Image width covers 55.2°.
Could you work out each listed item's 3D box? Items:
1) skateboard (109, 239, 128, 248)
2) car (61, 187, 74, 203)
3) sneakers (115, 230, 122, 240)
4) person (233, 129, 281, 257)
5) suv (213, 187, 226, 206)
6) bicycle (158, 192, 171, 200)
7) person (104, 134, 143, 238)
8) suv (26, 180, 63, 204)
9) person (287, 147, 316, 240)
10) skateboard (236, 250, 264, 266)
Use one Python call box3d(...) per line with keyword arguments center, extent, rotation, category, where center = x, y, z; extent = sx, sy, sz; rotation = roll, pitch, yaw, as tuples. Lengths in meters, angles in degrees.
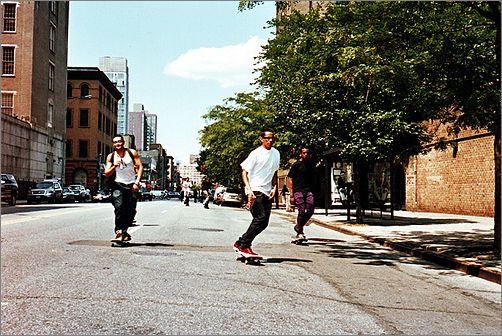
box3d(center=(-3.128, 1.805, 11.479), extent=(0.415, 0.154, 0.363), rotation=(1, -5, -17), category="skateboard")
box3d(center=(-15.823, 2.331, 41.495), extent=(0.897, 1.463, 2.891), rotation=(1, -5, -21), category="car")
box3d(center=(-3.130, 1.594, 11.357), extent=(0.151, 0.214, 0.086), rotation=(-6, -4, 4), category="sneakers")
box3d(center=(0.164, 0.544, 10.131), extent=(0.916, 2.708, 0.453), rotation=(-1, -4, -1), category="person")
box3d(center=(-2.892, 2.540, 43.871), extent=(1.071, 1.039, 1.981), rotation=(1, 5, -3), category="suv")
box3d(center=(-15.277, 4.873, 84.502), extent=(1.269, 1.454, 2.212), rotation=(2, 4, 33), category="bicycle")
box3d(center=(-3.070, 0.501, 11.543), extent=(0.857, 2.592, 0.746), rotation=(0, -4, -14), category="person")
box3d(center=(-15.807, 1.816, 36.806), extent=(1.613, 1.837, 2.975), rotation=(-1, -5, -1), category="suv")
box3d(center=(1.488, 0.776, 13.884), extent=(0.721, 2.789, 0.932), rotation=(-1, -4, 6), category="person")
box3d(center=(-0.012, 1.918, 10.183), extent=(0.225, 0.292, 0.614), rotation=(5, -7, -40), category="skateboard")
